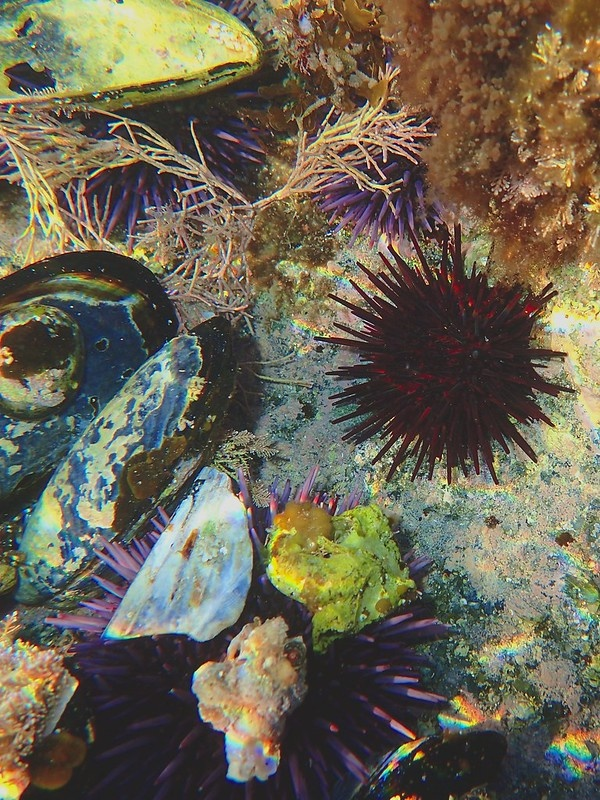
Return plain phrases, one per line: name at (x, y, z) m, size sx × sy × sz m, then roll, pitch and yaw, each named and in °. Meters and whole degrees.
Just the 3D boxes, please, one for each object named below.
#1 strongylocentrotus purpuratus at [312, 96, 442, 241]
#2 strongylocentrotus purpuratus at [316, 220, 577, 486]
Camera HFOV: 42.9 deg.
strongylocentrotus purpuratus at (0.308, -0.874, 3.229) m, size 0.468 × 0.461 × 0.215 m, roll 43°, pitch 17°, yaw 2°
strongylocentrotus purpuratus at (0.559, -0.137, 2.887) m, size 0.871 × 0.886 × 0.521 m, roll 34°, pitch 43°, yaw 21°
